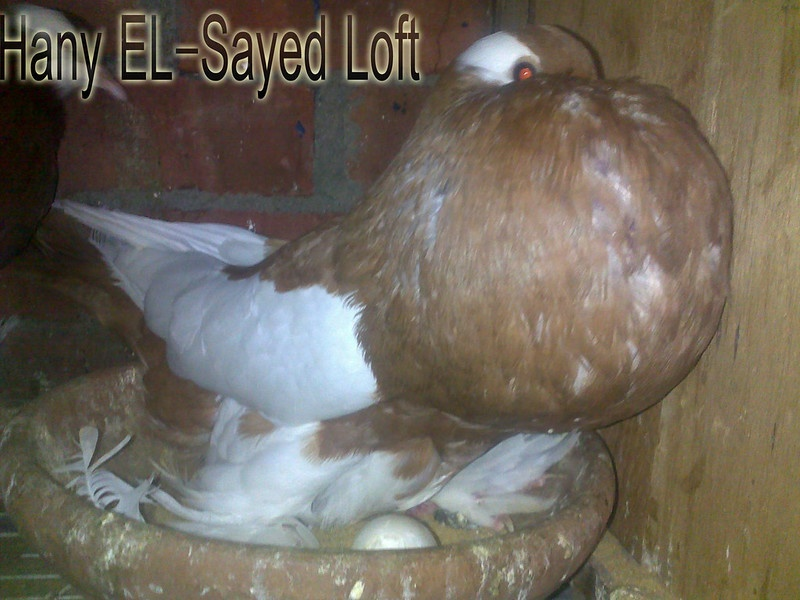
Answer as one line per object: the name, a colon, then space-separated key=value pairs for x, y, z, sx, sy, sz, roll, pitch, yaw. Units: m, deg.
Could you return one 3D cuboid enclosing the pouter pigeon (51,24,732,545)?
pouter pigeon: x=0.034 y=0.036 z=1.810 sx=0.756 sy=0.450 sz=0.619 roll=-5 pitch=78 yaw=13
